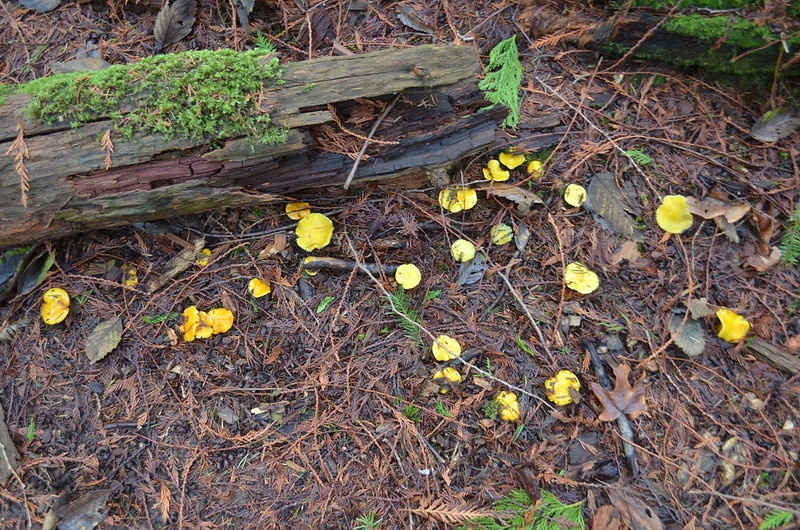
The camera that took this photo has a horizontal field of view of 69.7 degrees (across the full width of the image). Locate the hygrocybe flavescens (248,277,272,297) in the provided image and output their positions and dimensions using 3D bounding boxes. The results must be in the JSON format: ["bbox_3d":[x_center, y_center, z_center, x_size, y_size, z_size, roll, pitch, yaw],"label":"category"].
[{"bbox_3d":[-1.332,0.213,5.444,0.201,0.100,0.180,-12,64,-6],"label":"hygrocybe flavescens"}]

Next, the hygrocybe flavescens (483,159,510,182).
[{"bbox_3d":[0.902,-0.871,5.376,0.200,0.092,0.225,-31,75,-1],"label":"hygrocybe flavescens"}]

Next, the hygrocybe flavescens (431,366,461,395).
[{"bbox_3d":[0.418,1.035,5.226,0.241,0.115,0.196,-34,68,-16],"label":"hygrocybe flavescens"}]

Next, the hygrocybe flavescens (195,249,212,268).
[{"bbox_3d":[-1.866,-0.065,5.468,0.138,0.069,0.164,24,88,-6],"label":"hygrocybe flavescens"}]

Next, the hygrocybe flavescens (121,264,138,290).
[{"bbox_3d":[-2.618,0.115,5.465,0.203,0.115,0.178,-5,65,5],"label":"hygrocybe flavescens"}]

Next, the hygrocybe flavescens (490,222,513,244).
[{"bbox_3d":[0.950,-0.289,5.443,0.204,0.105,0.194,-32,67,-15],"label":"hygrocybe flavescens"}]

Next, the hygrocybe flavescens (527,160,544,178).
[{"bbox_3d":[1.290,-0.917,5.461,0.168,0.115,0.138,9,64,5],"label":"hygrocybe flavescens"}]
